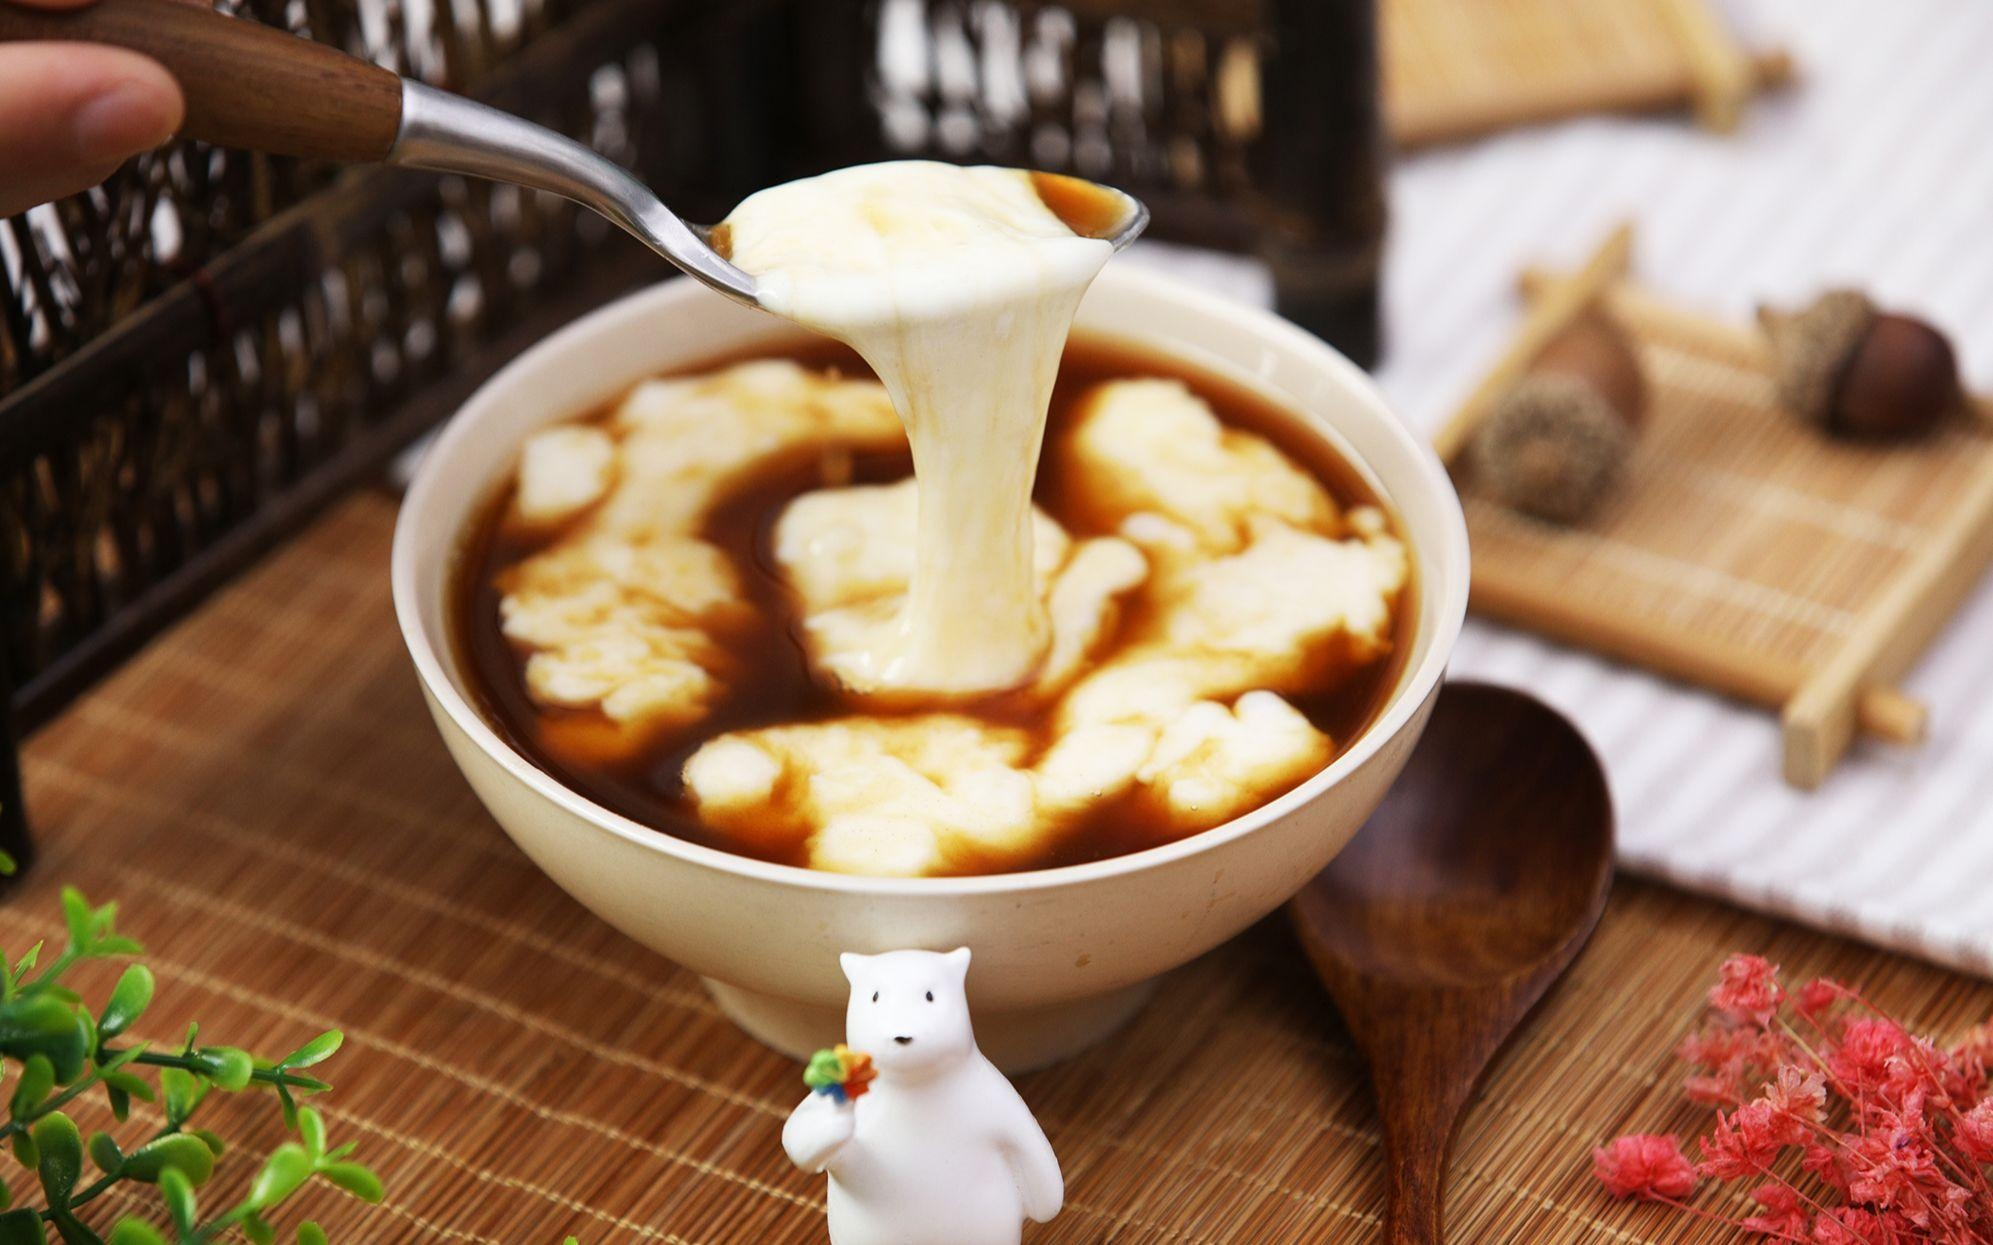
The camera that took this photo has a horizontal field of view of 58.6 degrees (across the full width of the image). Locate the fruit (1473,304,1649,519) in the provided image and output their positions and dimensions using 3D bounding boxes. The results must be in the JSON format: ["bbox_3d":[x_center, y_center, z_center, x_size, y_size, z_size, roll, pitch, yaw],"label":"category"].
[{"bbox_3d":[0.604,-0.216,1.894,0.127,0.086,0.259,29,44,-1],"label":"fruit"}]

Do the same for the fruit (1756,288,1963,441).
[{"bbox_3d":[0.912,-0.287,1.942,0.204,0.142,0.129,17,35,35],"label":"fruit"}]

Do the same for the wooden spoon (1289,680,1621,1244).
[{"bbox_3d":[0.385,0.270,1.536,0.253,0.337,0.450,0,92,1],"label":"wooden spoon"}]
